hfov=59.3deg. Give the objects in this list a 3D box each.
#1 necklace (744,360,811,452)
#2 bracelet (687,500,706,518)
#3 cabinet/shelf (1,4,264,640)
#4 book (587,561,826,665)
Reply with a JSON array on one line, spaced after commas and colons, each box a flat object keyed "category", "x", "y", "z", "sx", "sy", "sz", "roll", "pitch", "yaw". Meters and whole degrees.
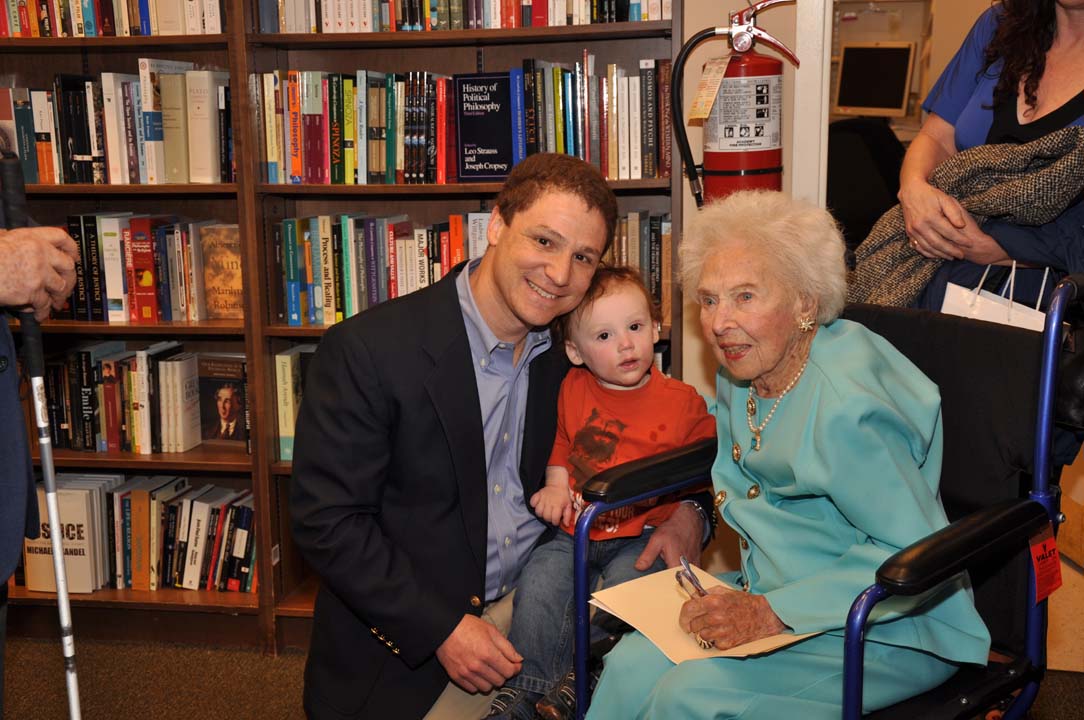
[{"category": "necklace", "x": 0.600, "y": 0.122, "z": 2.531, "sx": 0.053, "sy": 0.217, "sz": 0.167, "roll": 15, "pitch": 18, "yaw": -4}, {"category": "bracelet", "x": 0.457, "y": 0.440, "z": 2.835, "sx": 0.016, "sy": 0.046, "sz": 0.042, "roll": -27, "pitch": -9, "yaw": -11}, {"category": "cabinet/shelf", "x": -1.450, "y": -0.086, "z": 3.894, "sx": 0.984, "sy": 2.512, "sz": 0.430, "roll": -4, "pitch": 7, "yaw": 6}, {"category": "book", "x": 0.332, "y": 0.647, "z": 2.443, "sx": 0.298, "sy": 0.044, "sz": 0.313, "roll": -6, "pitch": 21, "yaw": -23}]
